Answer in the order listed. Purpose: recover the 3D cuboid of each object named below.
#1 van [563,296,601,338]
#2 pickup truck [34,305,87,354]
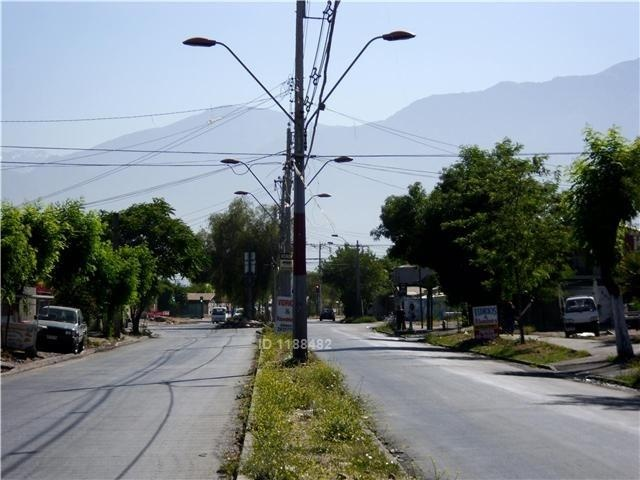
[{"bbox_3d":[14.329,4.188,38.633,1.729,2.329,2.301,-4,-11,19],"label":"van"},{"bbox_3d":[-11.088,3.755,29.771,1.253,1.245,2.544,2,-10,-6],"label":"pickup truck"}]
